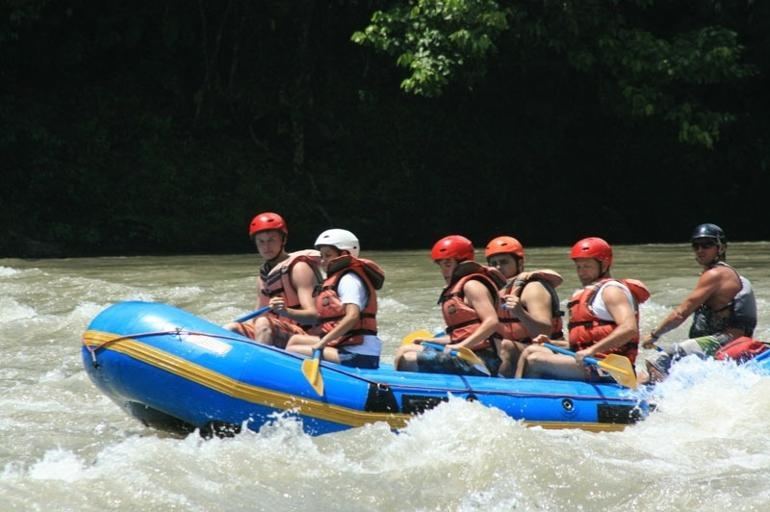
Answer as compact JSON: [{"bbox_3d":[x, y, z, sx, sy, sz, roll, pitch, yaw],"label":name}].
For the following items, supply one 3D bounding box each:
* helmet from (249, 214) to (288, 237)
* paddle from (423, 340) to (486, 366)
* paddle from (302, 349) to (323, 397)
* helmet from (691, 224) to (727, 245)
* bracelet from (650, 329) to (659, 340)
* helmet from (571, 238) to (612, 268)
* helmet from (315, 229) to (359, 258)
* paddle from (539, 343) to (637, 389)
[{"bbox_3d":[-1.667,-0.480,14.538,0.514,0.278,0.355,9,-12,-30],"label":"helmet"},{"bbox_3d":[0.948,1.312,13.715,1.220,0.215,0.131,10,29,39],"label":"paddle"},{"bbox_3d":[-0.951,1.503,13.374,0.287,0.115,0.545,5,38,-18],"label":"paddle"},{"bbox_3d":[4.778,-0.271,14.986,0.394,0.349,0.457,2,18,26],"label":"helmet"},{"bbox_3d":[3.868,1.136,14.609,0.039,0.105,0.113,3,3,-42],"label":"bracelet"},{"bbox_3d":[2.916,-0.046,14.287,0.561,0.349,0.379,-2,11,-20],"label":"helmet"},{"bbox_3d":[-0.681,-0.195,14.174,0.509,0.353,0.386,-17,7,0],"label":"helmet"},{"bbox_3d":[2.936,1.462,13.763,1.637,0.430,0.114,15,14,18],"label":"paddle"}]
